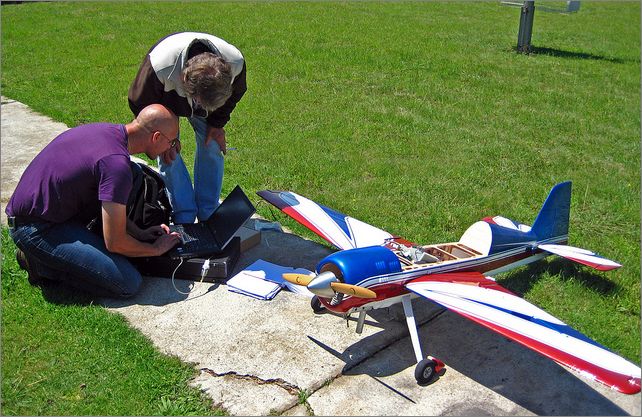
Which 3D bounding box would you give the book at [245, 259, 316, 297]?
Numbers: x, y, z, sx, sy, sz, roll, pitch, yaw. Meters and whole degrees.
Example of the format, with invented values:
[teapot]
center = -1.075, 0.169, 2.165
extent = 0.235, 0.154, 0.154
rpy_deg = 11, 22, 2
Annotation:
[book]
center = -0.579, 0.780, 6.509
extent = 0.720, 0.082, 0.343
rpy_deg = 15, 31, 31
